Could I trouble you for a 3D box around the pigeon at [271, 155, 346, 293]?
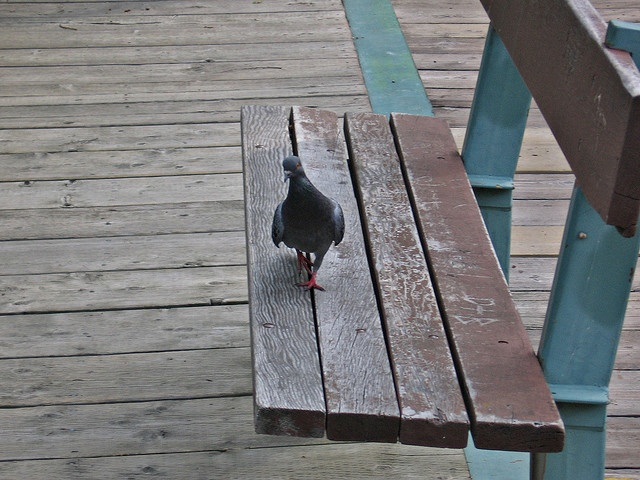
[{"bbox_3d":[-0.043,-0.037,2.277,0.290,0.337,0.366,-9,5,7],"label":"pigeon"}]
